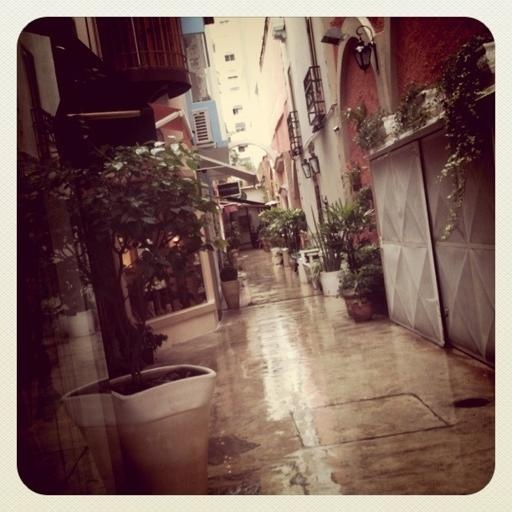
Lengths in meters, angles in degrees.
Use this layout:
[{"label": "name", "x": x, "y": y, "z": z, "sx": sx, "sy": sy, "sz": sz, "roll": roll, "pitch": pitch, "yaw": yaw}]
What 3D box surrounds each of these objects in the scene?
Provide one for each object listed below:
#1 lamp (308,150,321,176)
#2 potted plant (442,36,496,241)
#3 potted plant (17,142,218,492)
[{"label": "lamp", "x": 0.426, "y": -0.672, "z": 3.166, "sx": 0.072, "sy": 0.124, "sz": 0.065, "roll": -10, "pitch": 4, "yaw": -8}, {"label": "potted plant", "x": 1.090, "y": -0.580, "z": 2.308, "sx": 0.279, "sy": 0.917, "sz": 0.526, "roll": -7, "pitch": 4, "yaw": 23}, {"label": "potted plant", "x": -0.587, "y": 0.315, "z": 2.185, "sx": 0.813, "sy": 1.733, "sz": 0.666, "roll": -9, "pitch": 4, "yaw": 6}]
